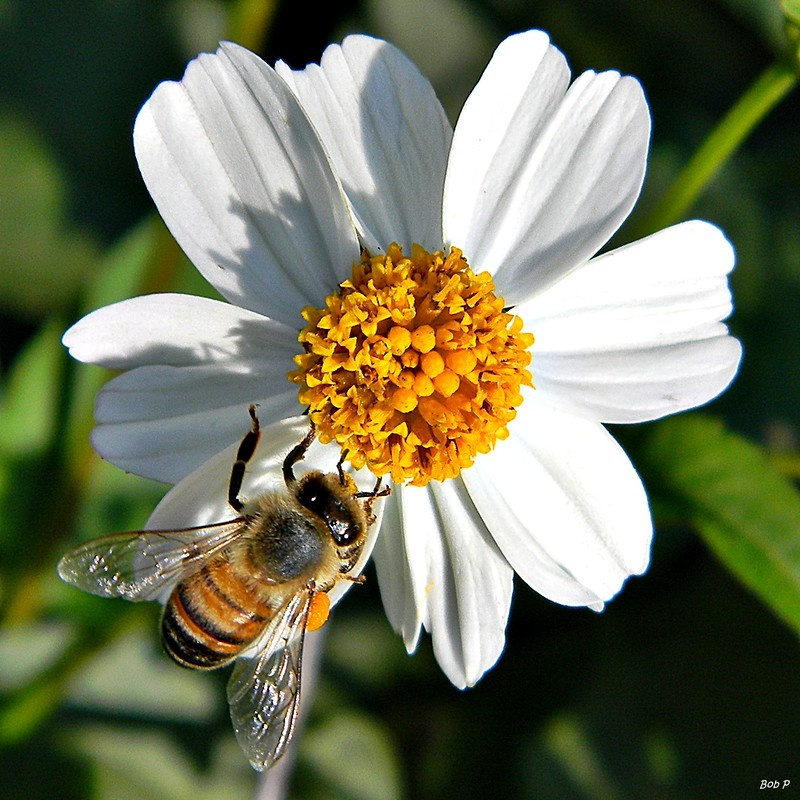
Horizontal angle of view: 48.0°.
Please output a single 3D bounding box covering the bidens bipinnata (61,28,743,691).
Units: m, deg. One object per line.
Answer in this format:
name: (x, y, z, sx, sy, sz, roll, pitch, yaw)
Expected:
bidens bipinnata: (-0.049, -0.030, 1.331, 0.870, 0.286, 1.002, 4, 86, -41)
